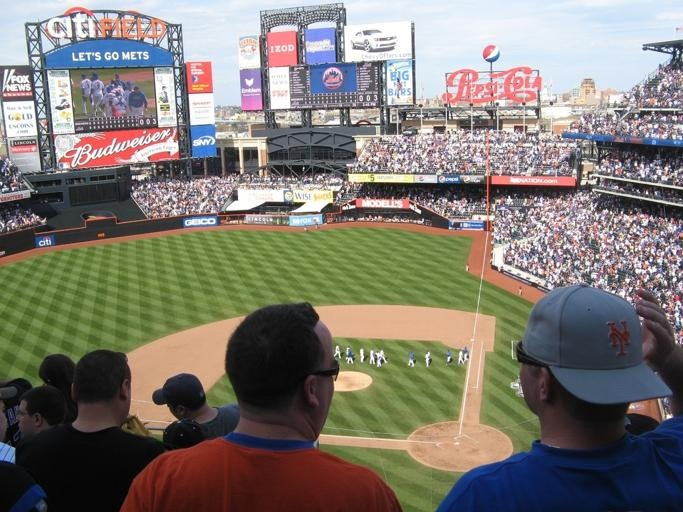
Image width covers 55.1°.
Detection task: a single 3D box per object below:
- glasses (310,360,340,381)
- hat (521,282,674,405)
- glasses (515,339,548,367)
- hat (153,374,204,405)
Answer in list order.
[{"bbox_3d":[-0.087,0.744,4.082,0.157,0.053,0.153,-2,4,-7],"label":"glasses"},{"bbox_3d":[1.428,0.429,3.866,0.610,0.426,0.795,-5,17,-23],"label":"hat"},{"bbox_3d":[1.143,0.597,3.940,0.148,0.042,0.149,22,3,16],"label":"glasses"},{"bbox_3d":[-1.686,1.485,6.964,0.482,0.290,0.342,13,15,20],"label":"hat"}]
